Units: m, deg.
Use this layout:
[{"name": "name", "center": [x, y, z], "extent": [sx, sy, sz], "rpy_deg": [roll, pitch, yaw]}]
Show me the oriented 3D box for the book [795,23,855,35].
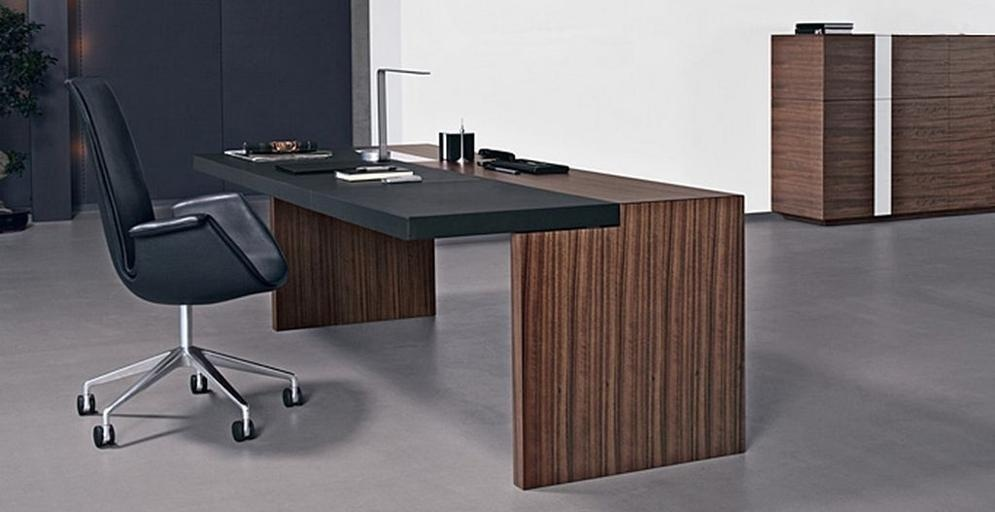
[{"name": "book", "center": [3.738, -2.599, 9.078], "extent": [0.585, 0.128, 0.226], "rpy_deg": [2, 14, 17]}]
